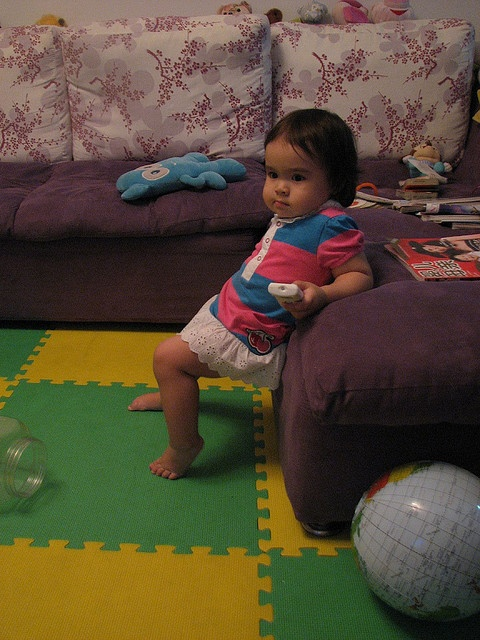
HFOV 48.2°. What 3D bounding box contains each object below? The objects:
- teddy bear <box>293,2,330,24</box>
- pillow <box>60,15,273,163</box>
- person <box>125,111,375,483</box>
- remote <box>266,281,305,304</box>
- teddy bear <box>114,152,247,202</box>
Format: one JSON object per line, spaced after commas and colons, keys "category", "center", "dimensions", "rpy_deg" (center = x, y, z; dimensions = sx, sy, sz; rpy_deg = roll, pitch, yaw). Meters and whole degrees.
{"category": "teddy bear", "center": [0.314, -1.308, 2.354], "dimensions": [0.164, 0.094, 0.181], "rpy_deg": [-2, 25, 6]}
{"category": "pillow", "center": [-0.267, -0.872, 2.170], "dimensions": [0.854, 0.470, 0.268], "rpy_deg": [3, 10, 7]}
{"category": "person", "center": [0.039, -0.021, 1.085], "dimensions": [0.427, 0.729, 0.316], "rpy_deg": [6, 32, 12]}
{"category": "remote", "center": [0.077, -0.040, 0.901], "dimensions": [0.041, 0.046, 0.043], "rpy_deg": [15, 34, 26]}
{"category": "teddy bear", "center": [-0.192, -0.464, 1.746], "dimensions": [0.305, 0.070, 0.215], "rpy_deg": [-8, 21, -8]}
